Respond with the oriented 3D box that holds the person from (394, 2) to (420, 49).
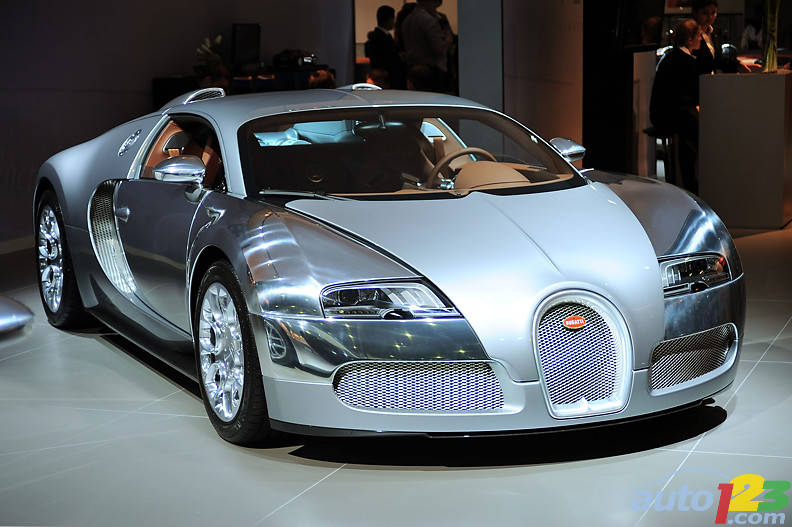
[{"bbox_3d":[0.112,-4.543,10.059,0.300,0.839,0.596,20,19,37],"label":"person"}]
